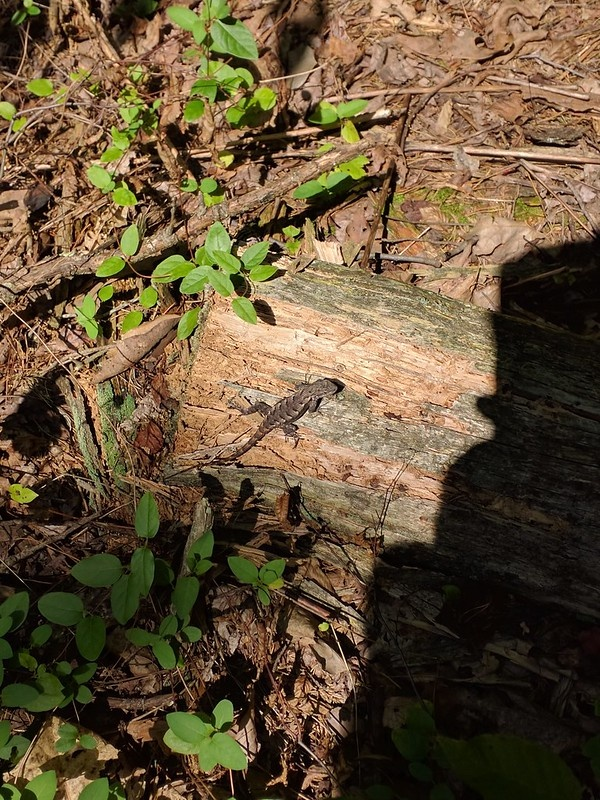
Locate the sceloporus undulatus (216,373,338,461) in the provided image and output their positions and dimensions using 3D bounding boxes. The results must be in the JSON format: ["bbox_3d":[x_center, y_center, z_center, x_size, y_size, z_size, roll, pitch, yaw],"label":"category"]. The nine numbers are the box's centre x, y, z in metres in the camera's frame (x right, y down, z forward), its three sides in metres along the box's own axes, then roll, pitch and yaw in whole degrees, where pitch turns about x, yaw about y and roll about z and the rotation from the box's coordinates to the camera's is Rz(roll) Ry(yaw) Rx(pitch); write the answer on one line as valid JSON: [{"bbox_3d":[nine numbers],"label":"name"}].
[{"bbox_3d":[-0.108,0.133,3.851,0.625,0.548,0.179,7,15,1],"label":"sceloporus undulatus"}]
